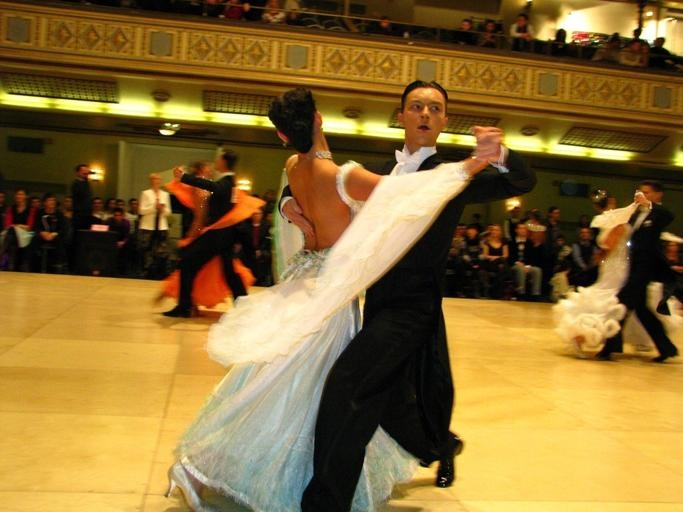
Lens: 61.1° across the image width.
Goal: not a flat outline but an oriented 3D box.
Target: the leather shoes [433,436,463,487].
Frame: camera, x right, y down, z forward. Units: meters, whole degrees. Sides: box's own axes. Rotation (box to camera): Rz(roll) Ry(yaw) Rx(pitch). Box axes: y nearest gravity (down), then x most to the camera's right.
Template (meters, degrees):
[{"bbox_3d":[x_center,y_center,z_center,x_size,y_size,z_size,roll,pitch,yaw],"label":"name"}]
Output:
[{"bbox_3d":[0.588,1.142,3.180,0.162,0.324,0.112,-4,13,-44],"label":"leather shoes"}]

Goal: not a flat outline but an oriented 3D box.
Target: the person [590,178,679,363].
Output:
[{"bbox_3d":[3.288,0.159,6.221,0.855,1.923,0.531,6,8,6],"label":"person"}]
